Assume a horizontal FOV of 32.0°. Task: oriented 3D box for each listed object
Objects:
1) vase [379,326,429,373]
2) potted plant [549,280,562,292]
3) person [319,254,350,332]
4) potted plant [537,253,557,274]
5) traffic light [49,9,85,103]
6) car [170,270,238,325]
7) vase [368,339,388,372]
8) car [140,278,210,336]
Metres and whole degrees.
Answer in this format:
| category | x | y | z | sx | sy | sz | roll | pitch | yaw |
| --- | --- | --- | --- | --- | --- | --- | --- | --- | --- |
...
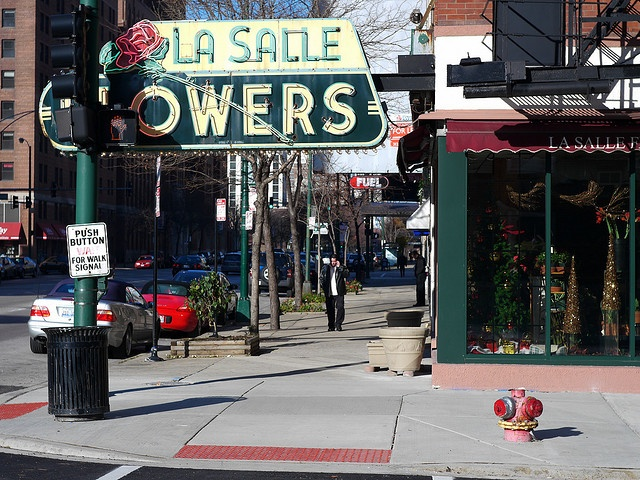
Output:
| category | x | y | z | sx | sy | sz | roll | pitch | yaw |
| --- | --- | --- | --- | --- | --- | --- | --- | --- | --- |
| vase | 1.536 | 1.981 | 20.084 | 0.763 | 0.843 | 0.898 | 0 | 1 | 0 |
| potted plant | 4.057 | 0.797 | 19.016 | 0.165 | 0.126 | 0.169 | 0 | 1 | -10 |
| person | 0.423 | 1.301 | 27.168 | 0.583 | 1.807 | 0.491 | -1 | 0 | -5 |
| potted plant | 3.775 | 0.423 | 18.713 | 0.287 | 0.393 | 0.369 | -1 | 2 | -36 |
| traffic light | -3.746 | -2.733 | 16.815 | 0.331 | 1.913 | 0.184 | 4 | 5 | 29 |
| car | -2.734 | 1.487 | 28.904 | 0.954 | 1.336 | 2.507 | 0 | 0 | 15 |
| vase | 1.201 | 2.136 | 20.534 | 0.589 | 0.450 | 0.626 | -3 | -4 | 2 |
| car | -3.597 | 1.406 | 26.403 | 1.499 | 1.016 | 3.034 | 6 | 8 | 0 |
